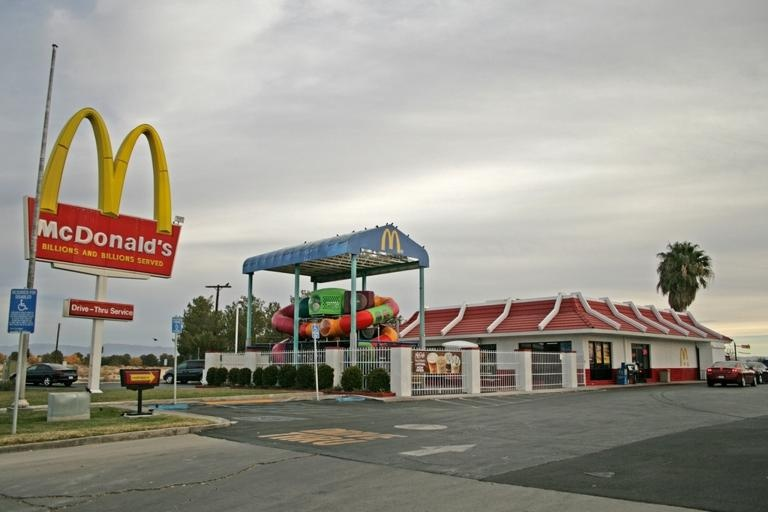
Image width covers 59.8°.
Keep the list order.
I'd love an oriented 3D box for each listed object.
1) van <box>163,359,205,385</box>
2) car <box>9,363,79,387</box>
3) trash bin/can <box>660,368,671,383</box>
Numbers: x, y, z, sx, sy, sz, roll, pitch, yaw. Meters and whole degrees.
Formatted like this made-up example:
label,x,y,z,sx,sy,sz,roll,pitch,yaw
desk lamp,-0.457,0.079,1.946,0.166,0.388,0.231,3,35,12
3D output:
label,x,y,z,sx,sy,sz,roll,pitch,yaw
van,-15.331,8.881,51.597,2.211,1.946,4.865,4,-14,-22
car,-21.239,7.513,42.457,3.555,1.587,1.554,-6,-14,22
trash bin/can,19.969,8.417,47.196,1.388,0.922,0.584,10,-17,-39
